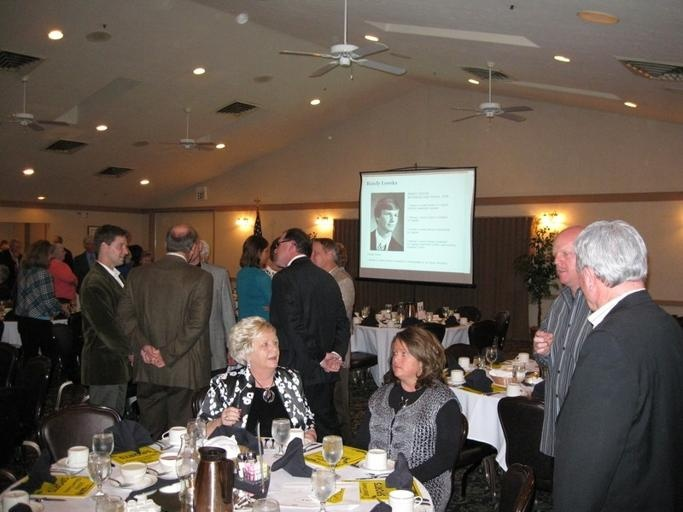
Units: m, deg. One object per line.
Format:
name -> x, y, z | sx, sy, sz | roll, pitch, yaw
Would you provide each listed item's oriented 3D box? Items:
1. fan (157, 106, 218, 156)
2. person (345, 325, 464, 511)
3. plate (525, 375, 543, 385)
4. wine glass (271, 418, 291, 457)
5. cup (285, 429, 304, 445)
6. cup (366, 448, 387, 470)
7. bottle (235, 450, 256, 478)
fan -> -3.074, -2.642, 12.178 | 1.019, 0.715, 1.022 | 9, 12, 41
person -> 0.431, 0.987, 3.620 | 0.443, 1.070, 0.588 | 1, -1, -34
plate -> 1.624, 1.045, 4.939 | 0.161, 0.055, 0.097 | 2, -6, -39
wine glass -> -0.342, 0.997, 3.276 | 0.092, 0.206, 0.228 | 1, -1, -7
cup -> -0.263, 1.027, 3.350 | 0.099, 0.076, 0.101 | 1, -14, 0
cup -> 0.182, 1.084, 3.120 | 0.098, 0.072, 0.078 | -1, 0, -8
bottle -> -0.483, 1.043, 2.931 | 0.121, 0.115, 0.071 | 0, -1, 22
